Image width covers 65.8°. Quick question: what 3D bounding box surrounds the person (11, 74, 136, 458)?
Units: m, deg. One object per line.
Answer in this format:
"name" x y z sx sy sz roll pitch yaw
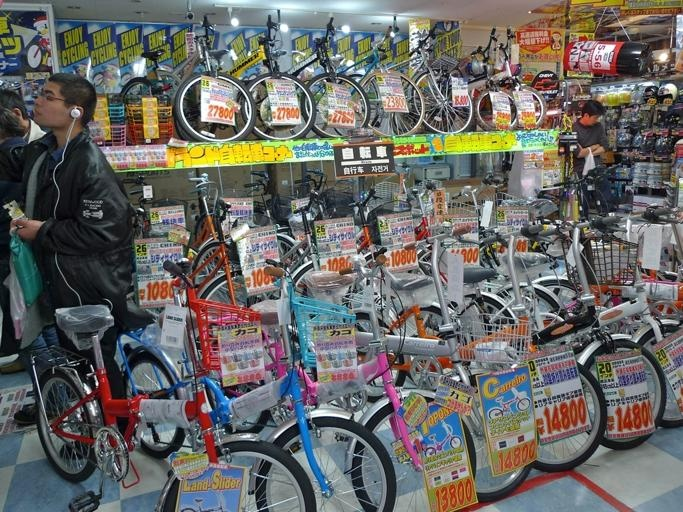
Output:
"person" -1.590 -0.123 3.190 0.630 1.902 0.462 2 14 19

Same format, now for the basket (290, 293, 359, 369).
"basket" -0.070 0.371 2.693 0.364 0.386 0.275 -1 8 -2

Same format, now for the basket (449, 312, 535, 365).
"basket" 0.821 0.447 2.980 0.394 0.192 0.256 -4 6 8

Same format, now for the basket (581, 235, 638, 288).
"basket" 1.656 0.020 3.303 0.281 0.294 0.244 -17 -4 17

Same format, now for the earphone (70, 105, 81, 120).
"earphone" -1.547 -0.832 3.047 0.049 0.067 0.020 1 5 -3
